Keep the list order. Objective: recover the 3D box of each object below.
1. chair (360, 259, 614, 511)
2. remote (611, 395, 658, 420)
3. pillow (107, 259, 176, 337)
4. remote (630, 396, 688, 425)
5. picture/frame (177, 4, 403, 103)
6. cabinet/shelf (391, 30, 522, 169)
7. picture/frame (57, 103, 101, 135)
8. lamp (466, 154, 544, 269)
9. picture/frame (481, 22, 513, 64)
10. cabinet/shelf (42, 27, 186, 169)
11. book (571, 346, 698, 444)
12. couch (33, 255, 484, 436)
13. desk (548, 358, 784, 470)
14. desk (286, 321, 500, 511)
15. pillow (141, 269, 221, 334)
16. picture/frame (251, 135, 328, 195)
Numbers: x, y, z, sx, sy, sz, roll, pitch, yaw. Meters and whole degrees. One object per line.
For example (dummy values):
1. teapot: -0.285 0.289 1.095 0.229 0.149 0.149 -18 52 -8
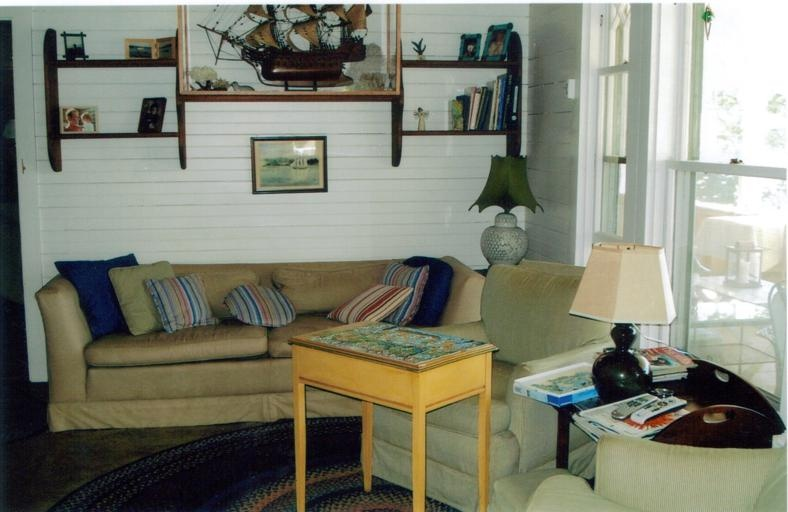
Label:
1. chair: 0.755 0.716 4.347 1.796 1.356 1.309 -4 6 -41
2. remote: 1.240 0.754 3.204 0.316 0.063 0.090 -18 19 -30
3. pillow: -1.932 0.320 4.875 0.563 0.476 0.191 -10 -18 -48
4. remote: 1.302 0.764 3.132 0.385 0.071 0.106 -10 13 -25
5. picture/frame: -0.821 -1.626 4.970 1.741 0.774 0.605 -1 12 -2
6. cabinet/shelf: 0.533 -1.413 5.527 1.706 1.299 0.628 0 2 2
7. picture/frame: -2.614 -1.131 5.259 0.253 0.264 0.020 -27 -7 -19
8. lamp: 0.905 -0.359 5.161 0.431 0.889 0.384 -3 13 -6
9. picture/frame: 0.882 -1.828 5.450 0.252 0.311 0.124 0 13 6
10. cabinet/shelf: -2.358 -1.358 5.278 1.464 1.230 0.336 -3 4 -13
11. book: 1.352 0.727 3.265 0.783 0.103 0.433 -16 17 -37
12. couch: -1.043 0.685 5.150 3.156 0.821 0.872 2 18 -20
13. desk: 1.480 0.780 3.288 0.796 0.533 0.803 -4 15 -17
14. desk: 0.028 0.959 3.652 1.192 0.950 0.860 6 11 41
15. pillow: -1.670 0.387 4.986 0.162 0.519 0.576 -29 5 19
16. picture/frame: -0.937 -0.808 5.545 0.698 0.421 0.052 -1 4 -7
